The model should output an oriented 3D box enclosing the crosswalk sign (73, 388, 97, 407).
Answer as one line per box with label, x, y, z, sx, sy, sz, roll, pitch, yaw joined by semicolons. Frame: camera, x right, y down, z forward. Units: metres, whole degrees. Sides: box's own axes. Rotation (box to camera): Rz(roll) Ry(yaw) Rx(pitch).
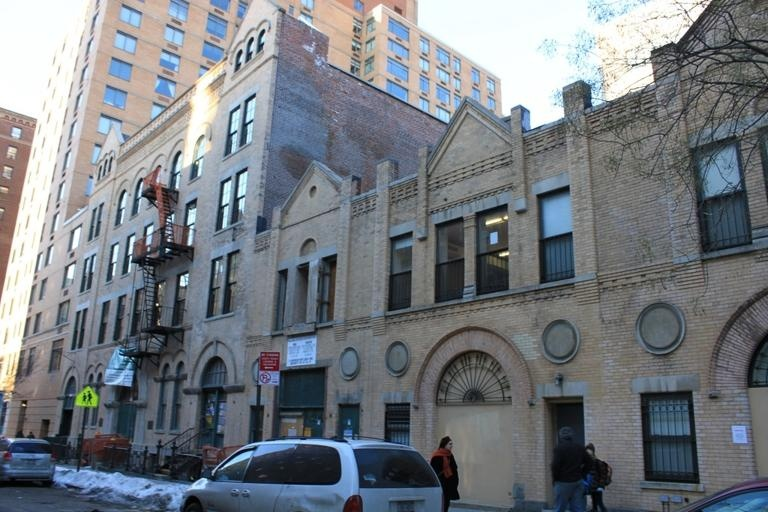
crosswalk sign;-14.300;6.671;29.598;0.826;0.982;1.684;7;-22;-19
